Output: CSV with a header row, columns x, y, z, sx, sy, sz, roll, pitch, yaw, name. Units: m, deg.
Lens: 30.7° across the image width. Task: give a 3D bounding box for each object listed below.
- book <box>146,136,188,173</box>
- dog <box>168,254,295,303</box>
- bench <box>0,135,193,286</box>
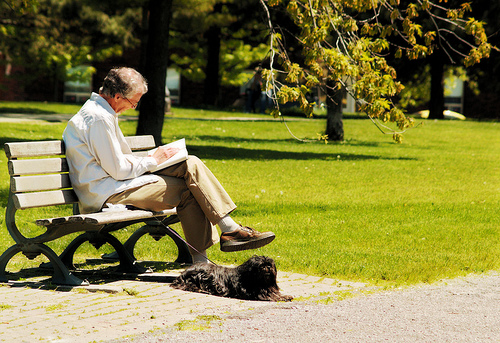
x,y,z,sx,sy,sz,roll,pitch,yaw,name
-1.161,-0.264,13.312,0.599,0.593,0.654,-3,8,-8,book
-0.263,1.530,12.635,2.165,0.784,1.151,2,5,6,dog
-2.431,0.226,14.399,3.022,2.126,4.184,-1,15,-4,bench
